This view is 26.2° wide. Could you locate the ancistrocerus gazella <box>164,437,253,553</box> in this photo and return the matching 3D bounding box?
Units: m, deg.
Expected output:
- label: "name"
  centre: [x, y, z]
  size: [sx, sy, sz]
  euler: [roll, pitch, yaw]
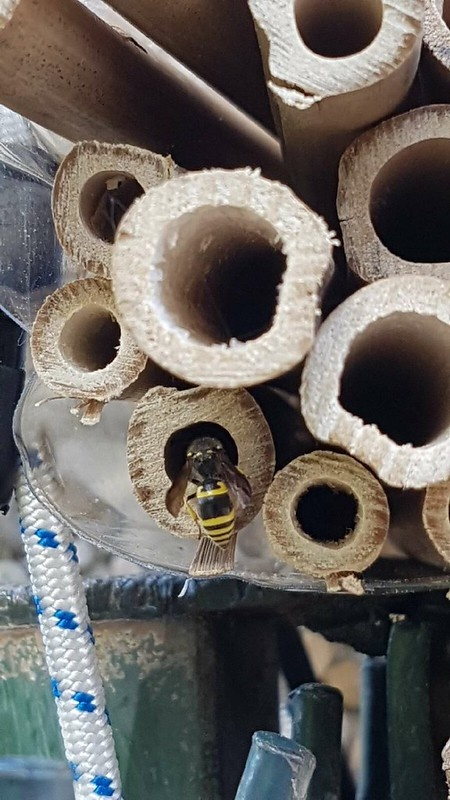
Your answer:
- label: "ancistrocerus gazella"
  centre: [-0.022, 0.129, 1.288]
  size: [0.115, 0.149, 0.064]
  euler: [-4, 15, -1]
